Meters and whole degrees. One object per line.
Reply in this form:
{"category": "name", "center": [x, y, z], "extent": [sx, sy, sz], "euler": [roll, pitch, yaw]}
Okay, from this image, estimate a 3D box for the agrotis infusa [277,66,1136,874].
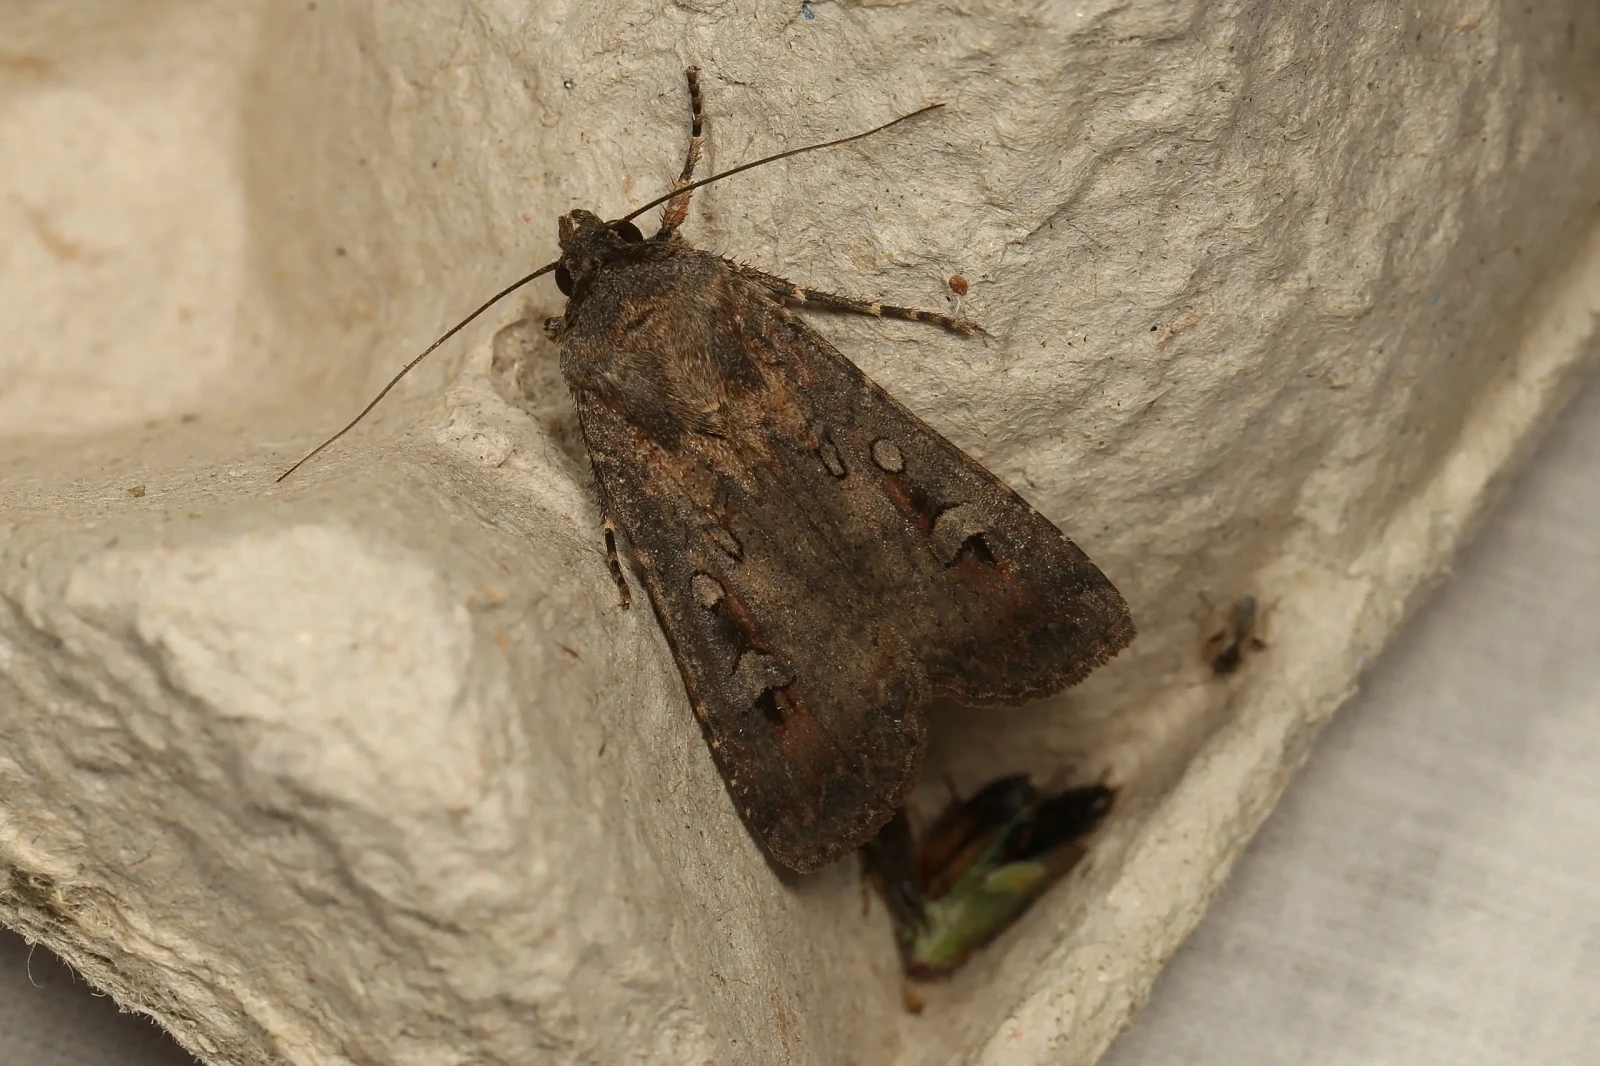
{"category": "agrotis infusa", "center": [0.032, -0.202, 6.045], "extent": [1.242, 2.263, 0.691], "euler": [-15, 15, -2]}
